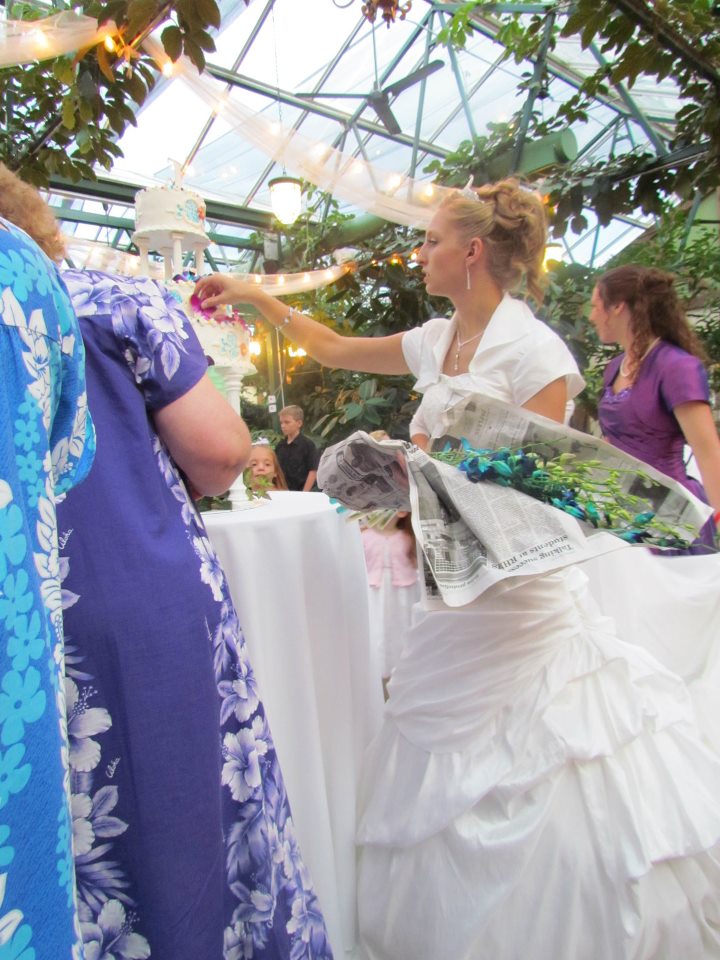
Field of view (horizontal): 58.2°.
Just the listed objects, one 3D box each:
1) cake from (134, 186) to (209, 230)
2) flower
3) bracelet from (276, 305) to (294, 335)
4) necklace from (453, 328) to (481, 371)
[{"bbox_3d":[-0.511,-0.711,1.743,0.159,0.090,0.157,3,8,34],"label":"cake"},{"bbox_3d":[0.288,0.028,1.269,0.597,0.170,0.170,14,49,7],"label":"flower"},{"bbox_3d":[-0.232,-0.485,1.984,0.077,0.079,0.082,-2,33,-9],"label":"bracelet"},{"bbox_3d":[0.258,-0.321,1.596,0.090,0.083,0.026,9,-3,4],"label":"necklace"}]
